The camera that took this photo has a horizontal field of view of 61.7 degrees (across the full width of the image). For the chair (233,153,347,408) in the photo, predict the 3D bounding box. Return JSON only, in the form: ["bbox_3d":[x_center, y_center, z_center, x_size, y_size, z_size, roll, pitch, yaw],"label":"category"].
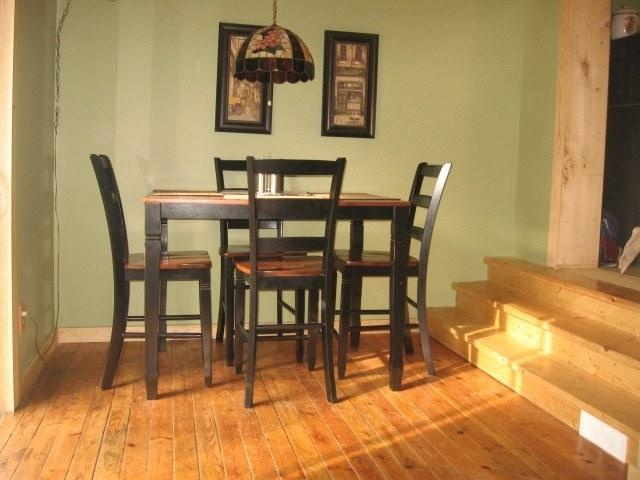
[{"bbox_3d":[-0.221,0.191,3.220,0.677,1.418,0.873,0,14,-4],"label":"chair"}]

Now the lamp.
[{"bbox_3d":[-0.257,-1.123,3.170,0.412,0.622,0.433,1,15,6],"label":"lamp"}]

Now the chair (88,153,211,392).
[{"bbox_3d":[-1.046,0.152,3.366,0.751,1.376,0.755,0,6,0],"label":"chair"}]

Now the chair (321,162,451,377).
[{"bbox_3d":[0.445,0.168,3.601,0.845,1.387,0.860,0,4,-30],"label":"chair"}]
